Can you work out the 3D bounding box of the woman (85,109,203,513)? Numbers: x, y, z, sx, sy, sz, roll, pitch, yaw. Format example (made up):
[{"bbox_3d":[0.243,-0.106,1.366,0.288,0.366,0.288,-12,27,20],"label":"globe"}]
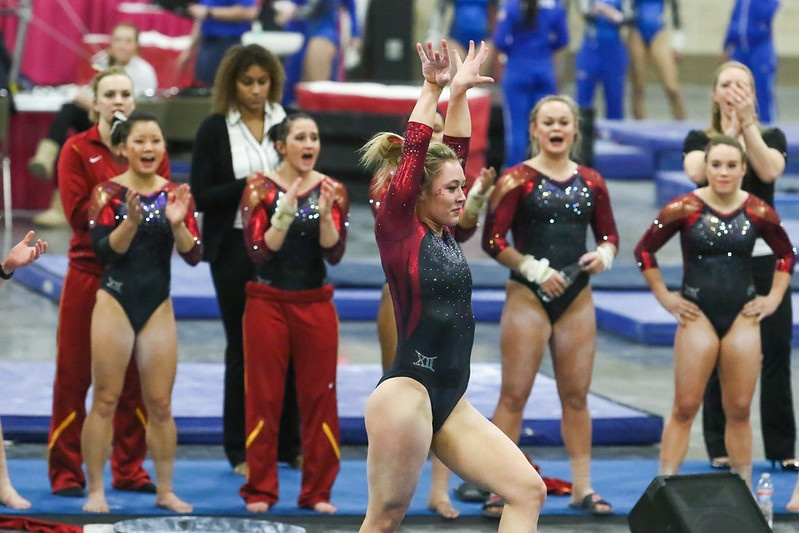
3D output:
[{"bbox_3d":[-1.438,0.260,6.747,0.553,2.174,0.370,1,6,-15],"label":"woman"}]

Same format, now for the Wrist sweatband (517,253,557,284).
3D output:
[{"bbox_3d":[0.777,0.017,6.910,0.127,0.063,0.165,-25,46,-37],"label":"Wrist sweatband"}]

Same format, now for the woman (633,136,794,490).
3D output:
[{"bbox_3d":[1.758,0.253,6.909,0.873,1.960,0.519,4,6,11],"label":"woman"}]

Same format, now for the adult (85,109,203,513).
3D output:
[{"bbox_3d":[-1.438,0.260,6.746,0.553,2.174,0.366,1,6,-15],"label":"adult"}]

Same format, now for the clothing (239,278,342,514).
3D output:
[{"bbox_3d":[-0.616,0.729,7.025,0.548,1.399,0.351,0,12,-5],"label":"clothing"}]

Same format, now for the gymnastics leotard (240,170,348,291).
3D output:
[{"bbox_3d":[-0.607,-0.212,6.869,0.617,0.628,0.346,3,-4,-25],"label":"gymnastics leotard"}]

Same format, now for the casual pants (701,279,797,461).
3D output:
[{"bbox_3d":[2.156,0.610,7.406,0.535,0.986,0.235,-2,8,-3],"label":"casual pants"}]

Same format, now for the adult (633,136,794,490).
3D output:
[{"bbox_3d":[1.756,0.253,6.910,0.873,1.960,0.522,4,6,11],"label":"adult"}]

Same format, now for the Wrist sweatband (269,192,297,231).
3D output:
[{"bbox_3d":[-0.627,-0.294,6.759,0.142,0.201,0.119,2,6,-14],"label":"Wrist sweatband"}]
